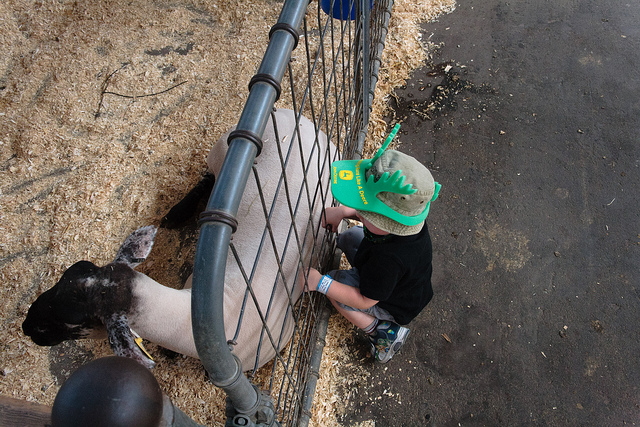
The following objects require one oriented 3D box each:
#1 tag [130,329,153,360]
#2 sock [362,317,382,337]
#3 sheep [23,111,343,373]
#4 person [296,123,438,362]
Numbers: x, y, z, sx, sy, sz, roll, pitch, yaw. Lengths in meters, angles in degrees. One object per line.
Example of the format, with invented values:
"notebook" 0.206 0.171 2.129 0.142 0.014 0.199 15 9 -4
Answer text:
"tag" -1.132 0.841 3.885 0.041 0.222 0.224 -40 82 -14
"sock" 0.343 0.758 4.092 0.082 0.070 0.142 25 29 7
"sheep" -0.914 0.660 4.433 2.176 1.159 0.894 -24 61 -36
"person" 0.361 0.201 4.090 0.829 1.568 0.959 10 38 7
